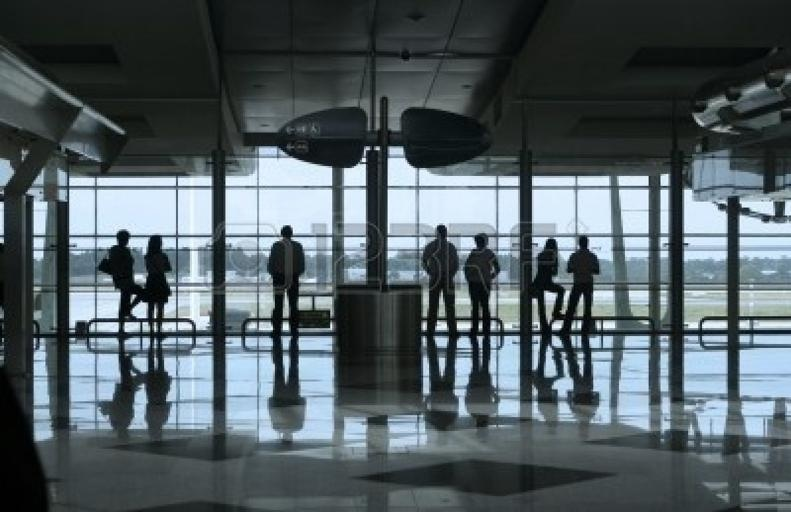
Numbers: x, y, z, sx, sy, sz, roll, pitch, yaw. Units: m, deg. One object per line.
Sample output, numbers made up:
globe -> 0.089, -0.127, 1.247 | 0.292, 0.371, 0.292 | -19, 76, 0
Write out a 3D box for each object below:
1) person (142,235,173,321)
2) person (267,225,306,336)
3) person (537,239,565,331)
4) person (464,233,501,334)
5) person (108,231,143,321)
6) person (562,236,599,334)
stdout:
person -> -4.741, 0.433, 18.425 | 0.516, 1.708, 0.134 | 1, -4, -12
person -> -2.135, 0.471, 18.135 | 0.666, 2.191, 0.261 | 1, -4, -11
person -> 3.162, 0.583, 18.904 | 0.611, 1.926, 0.263 | 0, -4, 0
person -> 1.704, 0.554, 18.492 | 0.680, 2.057, 0.178 | 2, -4, -23
person -> -5.381, 0.369, 18.417 | 0.661, 1.804, 0.222 | 1, -4, -17
person -> 3.793, 0.583, 18.982 | 0.691, 2.028, 0.246 | 1, -4, -12
